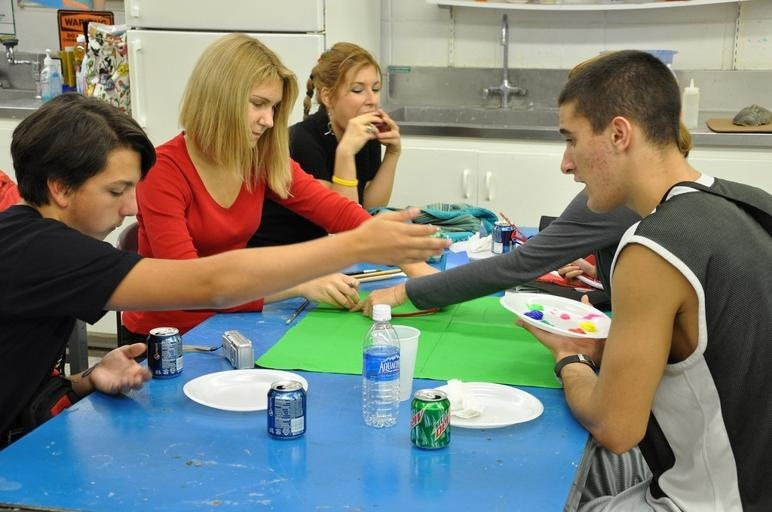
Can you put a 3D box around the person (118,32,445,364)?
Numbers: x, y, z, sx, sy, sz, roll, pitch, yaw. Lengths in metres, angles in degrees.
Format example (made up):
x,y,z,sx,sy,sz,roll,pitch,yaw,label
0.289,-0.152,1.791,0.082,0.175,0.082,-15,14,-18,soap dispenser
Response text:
x,y,z,sx,sy,sz,roll,pitch,yaw,label
-0.404,-0.371,2.490,1.425,1.289,1.019,5,18,21,person

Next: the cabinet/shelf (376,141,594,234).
x,y,z,sx,sy,sz,roll,pitch,yaw,label
0.574,-0.389,3.089,0.695,0.400,0.246,4,19,8,cabinet/shelf

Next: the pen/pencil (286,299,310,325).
x,y,z,sx,sy,sz,roll,pitch,yaw,label
-0.295,0.189,1.922,0.020,0.020,0.175,-24,12,35,pen/pencil

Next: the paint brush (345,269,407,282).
x,y,z,sx,sy,sz,roll,pitch,yaw,label
-0.035,0.078,2.196,0.279,0.028,0.028,-4,30,-23,paint brush

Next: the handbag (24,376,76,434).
x,y,z,sx,sy,sz,roll,pitch,yaw,label
-0.841,0.378,1.430,0.117,0.047,0.086,-29,21,-4,handbag

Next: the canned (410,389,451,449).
x,y,z,sx,sy,sz,roll,pitch,yaw,label
0.099,0.364,1.246,0.079,0.125,0.083,9,21,28,canned
